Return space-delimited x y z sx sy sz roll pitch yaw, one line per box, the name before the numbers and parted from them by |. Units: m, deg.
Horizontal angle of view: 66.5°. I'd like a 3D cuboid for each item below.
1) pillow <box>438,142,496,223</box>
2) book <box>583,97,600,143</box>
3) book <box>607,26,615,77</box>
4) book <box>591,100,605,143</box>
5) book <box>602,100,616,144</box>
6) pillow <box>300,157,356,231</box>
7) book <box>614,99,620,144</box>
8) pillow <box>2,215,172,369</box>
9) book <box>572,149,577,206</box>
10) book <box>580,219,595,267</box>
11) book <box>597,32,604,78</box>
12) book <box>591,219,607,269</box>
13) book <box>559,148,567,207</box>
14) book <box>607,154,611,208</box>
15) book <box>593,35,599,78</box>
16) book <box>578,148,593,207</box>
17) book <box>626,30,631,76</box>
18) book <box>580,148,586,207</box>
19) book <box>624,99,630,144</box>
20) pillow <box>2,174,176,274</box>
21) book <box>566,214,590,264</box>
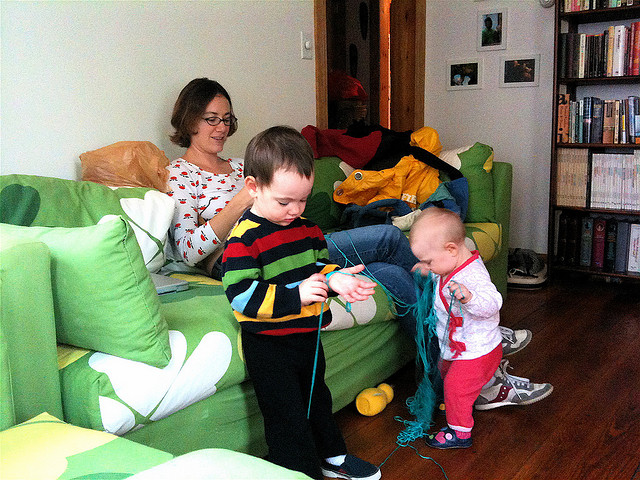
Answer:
pillow | 0.927 -0.355 3.083 0.338 0.478 0.303 -2 13 13
book | 1.871 -0.831 3.367 0.093 0.280 0.295 3 7 25
book | 1.939 -1.258 3.264 0.036 0.321 0.071 3 15 30
book | 1.908 -0.813 3.352 0.053 0.235 0.178 5 12 19
book | 1.961 -0.804 3.316 0.057 0.238 0.239 2 5 10
pillow | 0.033 -0.275 2.825 0.162 0.392 0.370 6 7 34
book | 1.996 -0.798 3.292 0.030 0.272 0.057 0 14 18
pillow | -0.678 0.161 1.388 0.425 0.314 0.155 6 5 31
book | 1.807 -0.443 3.467 0.023 0.395 0.045 2 15 28
book | 1.916 0.018 3.495 0.103 0.303 0.315 0 4 17
book | 1.890 -1.245 3.290 0.039 0.285 0.060 0 14 20
book | 1.976 0.017 3.461 0.116 0.361 0.333 2 3 33
book | 1.745 -0.454 3.511 0.038 0.391 0.048 3 15 29
book | 1.993 -0.406 3.372 0.018 0.359 0.043 2 14 27
book | 1.865 -1.249 3.306 0.025 0.274 0.041 4 16 34
book | 1.859 -0.452 3.440 0.070 0.312 0.309 6 26 18
book | 2.041 -1.244 3.235 0.018 0.280 0.054 3 15 31
book | 1.850 -0.436 3.443 0.027 0.400 0.053 2 15 28
book | 2.047 -0.796 3.261 0.027 0.281 0.051 -3 13 9
pillow | -0.900 -0.130 1.874 0.458 0.145 0.469 15 3 16
book | 1.858 0.002 3.520 0.113 0.311 0.329 1 3 23
